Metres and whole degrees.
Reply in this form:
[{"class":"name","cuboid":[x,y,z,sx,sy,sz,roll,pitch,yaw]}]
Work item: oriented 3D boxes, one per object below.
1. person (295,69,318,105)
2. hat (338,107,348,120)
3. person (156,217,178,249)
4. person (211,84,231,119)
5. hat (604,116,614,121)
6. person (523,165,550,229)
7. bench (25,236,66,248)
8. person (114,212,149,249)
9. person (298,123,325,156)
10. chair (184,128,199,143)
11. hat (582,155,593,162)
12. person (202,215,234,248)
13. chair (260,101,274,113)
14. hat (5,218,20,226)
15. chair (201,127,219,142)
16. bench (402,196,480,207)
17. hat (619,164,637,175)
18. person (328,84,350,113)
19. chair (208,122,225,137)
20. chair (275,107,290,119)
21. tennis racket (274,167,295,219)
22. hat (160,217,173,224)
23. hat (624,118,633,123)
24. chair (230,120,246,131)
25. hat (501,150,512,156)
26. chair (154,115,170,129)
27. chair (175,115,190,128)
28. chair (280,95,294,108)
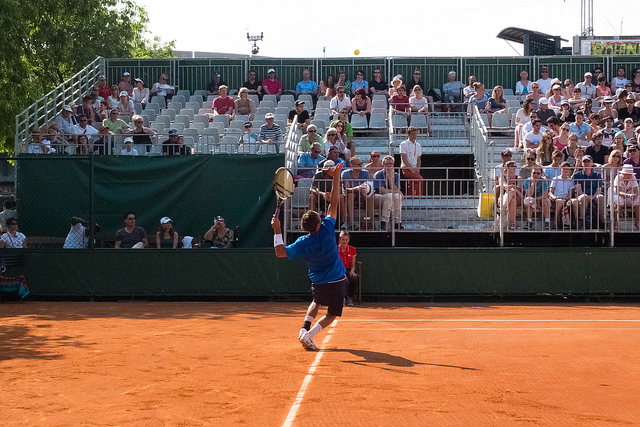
[{"class":"person","cuboid":[-0.426,-4.006,32.932,0.716,1.402,0.783,-1,-2,5]},{"class":"hat","cuboid":[0.716,-2.958,30.316,0.306,0.434,0.165,2,-1,-1]},{"class":"person","cuboid":[-4.019,0.545,26.781,0.561,0.821,0.492,0,1,-10]},{"class":"person","cuboid":[-2.928,-3.375,30.829,0.726,1.074,0.818,2,7,14]},{"class":"hat","cuboid":[8.140,-2.673,28.385,0.237,0.148,0.513,1,1,15]},{"class":"person","cuboid":[5.650,-0.394,26.257,0.683,1.596,0.303,1,1,10]},{"class":"bench","cuboid":[-7.306,0.791,27.152,0.776,0.335,0.187,0,-1,2]},{"class":"person","cuboid":[-4.981,0.475,27.059,0.939,1.219,0.894,0,-6,-17]},{"class":"person","cuboid":[-0.269,-2.025,27.775,0.850,1.253,0.732,-1,3,2]},{"class":"chair","cuboid":[-3.675,-2.289,29.382,0.502,0.506,0.467,1,-4,-2]},{"class":"hat","cuboid":[7.005,-1.457,26.405,0.216,0.164,0.366,-4,-11,18]},{"class":"person","cuboid":[-2.641,0.501,26.899,0.680,0.865,0.484,1,1,31]},{"class":"chair","cuboid":[-1.640,-3.387,31.757,0.360,0.491,0.372,0,-7,0]},{"class":"hat","cuboid":[-8.077,0.249,26.821,0.195,0.201,0.374,1,1,25]},{"class":"chair","cuboid":[-3.167,-2.261,29.053,0.437,0.608,0.512,0,-7,0]},{"class":"bench","cuboid":[3.241,-0.283,26.754,1.976,0.260,0.456,1,1,2]},{"class":"hat","cuboid":[7.948,-1.122,26.089,0.372,0.231,0.148,1,1,-8]},{"class":"person","cuboid":[0.673,-3.394,30.688,0.556,0.887,0.525,6,-16,-18]},{"class":"chair","cuboid":[-2.965,-2.558,29.855,0.522,0.666,0.533,0,-1,-1]},{"class":"chair","cuboid":[-1.105,-3.151,31.207,0.410,0.498,0.404,1,13,-1]},{"class":"tennis racket","cuboid":[-0.822,-0.562,23.221,0.070,1.405,0.502,-3,-16,30]},{"class":"hat","cuboid":[-4.076,0.216,26.864,0.248,0.168,0.418,1,1,-9]},{"class":"hat","cuboid":[8.683,-2.609,28.369,0.167,0.171,0.128,2,4,6]},{"class":"chair","cuboid":[-2.411,-2.638,29.931,0.450,0.333,0.328,0,-4,-3]},{"class":"hat","cuboid":[4.987,-1.605,26.930,0.228,0.164,0.342,1,1,6]},{"class":"chair","cuboid":[-4.804,-2.811,31.141,0.411,0.591,0.482,1,0,0]},{"class":"chair","cuboid":[-4.189,-2.842,31.042,0.362,0.515,0.418,1,-1,-4]},{"class":"chair","cuboid":[-1.026,-3.596,32.334,0.485,0.484,0.408,-1,-3,-5]}]
